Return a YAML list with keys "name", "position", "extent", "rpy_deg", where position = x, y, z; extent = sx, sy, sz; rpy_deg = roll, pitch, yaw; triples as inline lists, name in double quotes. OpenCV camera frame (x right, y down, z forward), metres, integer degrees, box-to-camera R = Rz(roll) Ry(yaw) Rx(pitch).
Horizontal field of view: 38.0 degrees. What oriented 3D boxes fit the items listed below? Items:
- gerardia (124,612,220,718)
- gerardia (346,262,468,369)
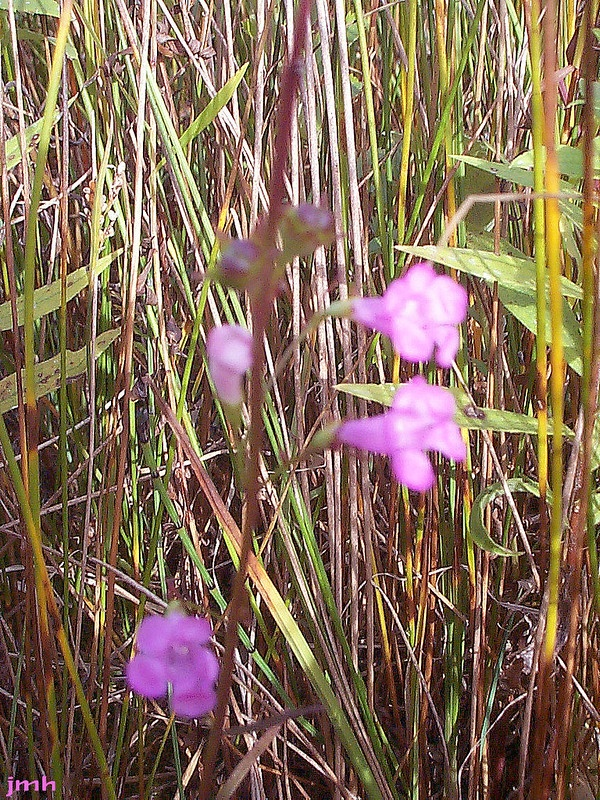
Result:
- name: "gerardia"
  position: [-0.058, 0.133, 0.421]
  extent: [0.050, 0.030, 0.056]
  rpy_deg: [8, 25, -39]
- name: "gerardia"
  position: [0.064, -0.049, 0.503]
  extent: [0.028, 0.045, 0.056]
  rpy_deg: [24, -1, -17]
